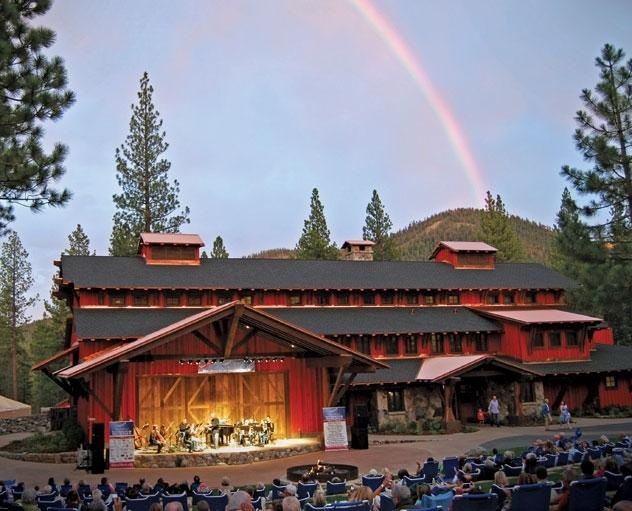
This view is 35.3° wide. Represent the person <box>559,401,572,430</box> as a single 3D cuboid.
[{"bbox_3d":[14.478,9.264,58.023,0.599,1.661,2.697,-5,-15,13],"label":"person"}]

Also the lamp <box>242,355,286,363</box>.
[{"bbox_3d":[-2.759,5.410,52.168,2.375,0.301,0.675,8,-18,-31],"label":"lamp"}]

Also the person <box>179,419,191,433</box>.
[{"bbox_3d":[-6.525,8.445,49.176,0.440,0.947,0.425,0,4,16],"label":"person"}]

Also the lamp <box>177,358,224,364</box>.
[{"bbox_3d":[-5.931,5.393,51.205,3.296,0.424,0.357,0,-5,-2],"label":"lamp"}]
